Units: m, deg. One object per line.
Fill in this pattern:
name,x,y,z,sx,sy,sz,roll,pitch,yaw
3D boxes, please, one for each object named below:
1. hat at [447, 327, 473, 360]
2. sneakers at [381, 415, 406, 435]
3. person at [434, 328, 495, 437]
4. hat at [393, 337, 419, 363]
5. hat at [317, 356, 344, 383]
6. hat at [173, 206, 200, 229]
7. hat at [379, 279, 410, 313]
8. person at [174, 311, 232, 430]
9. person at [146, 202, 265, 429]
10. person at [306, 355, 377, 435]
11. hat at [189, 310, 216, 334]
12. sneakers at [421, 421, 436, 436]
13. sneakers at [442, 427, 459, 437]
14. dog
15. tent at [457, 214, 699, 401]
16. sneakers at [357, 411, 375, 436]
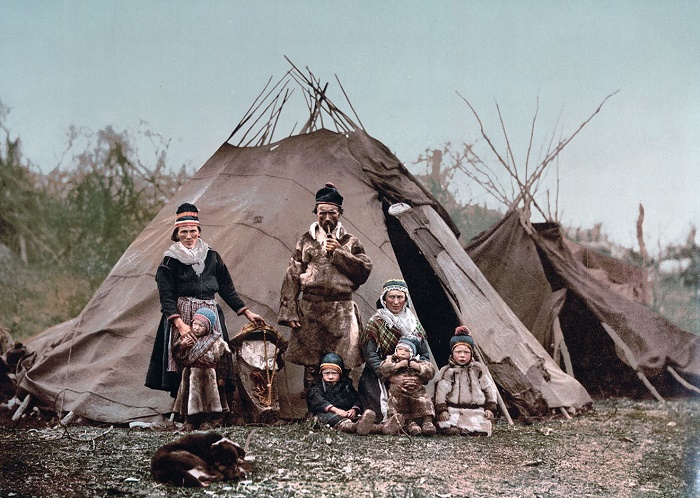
hat,1.029,0.869,6.498,0.196,0.219,0.271,2,-1,3
sneakers,0.371,1.520,6.051,0.203,0.174,0.132,6,13,3
person,1.039,1.187,6.342,0.546,0.977,0.388,0,24,17
hat,0.512,0.901,6.262,0.164,0.209,0.225,6,-27,16
hat,-0.171,1.076,6.233,0.177,0.211,0.235,2,0,1
hat,-1.491,-0.280,6.388,0.205,0.203,0.198,-1,-1,28
hat,0.390,0.437,6.550,0.217,0.235,0.271,-2,3,1
person,-1.285,0.993,6.059,0.445,0.858,0.355,2,13,-13
person,-1.303,0.625,6.268,0.977,1.909,0.681,2,5,-3
person,-0.089,1.320,6.203,0.470,0.769,0.740,-3,3,-32
hat,-1.284,0.647,6.070,0.182,0.171,0.201,-41,9,-9
sneakers,0.673,1.571,6.102,0.117,0.123,0.081,3,13,-12
sneakers,0.890,1.625,6.190,0.188,0.108,0.059,5,-14,1
dog,-1.127,1.592,5.255,0.662,0.321,0.336,12,-19,-42
tent,2.680,0.682,7.770,2.028,1.084,2.059,2,3,-12
sneakers,0.131,1.486,5.986,0.114,0.241,0.105,13,8,-22
